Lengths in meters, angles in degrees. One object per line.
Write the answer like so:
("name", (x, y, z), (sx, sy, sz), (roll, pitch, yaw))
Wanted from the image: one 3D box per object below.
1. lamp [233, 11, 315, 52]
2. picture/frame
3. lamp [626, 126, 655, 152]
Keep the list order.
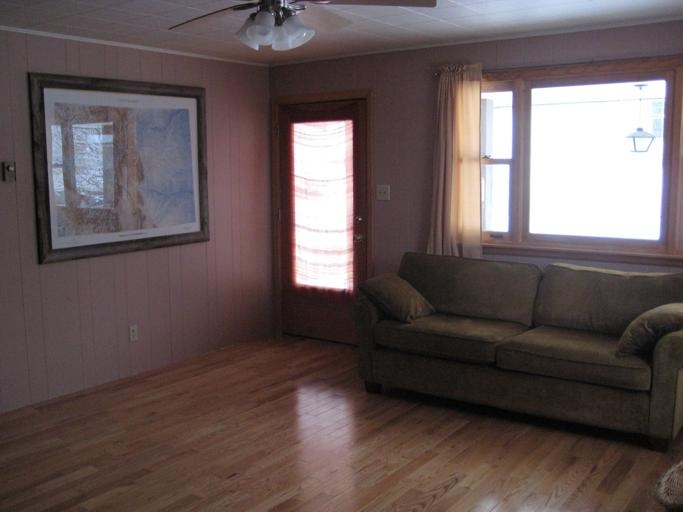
("lamp", (-0.371, -1.260, 3.152), (0.403, 0.178, 0.214), (-8, 12, -28))
("picture/frame", (-1.974, -0.775, 4.848), (0.109, 1.445, 1.723), (9, 10, 41))
("lamp", (2.411, -0.931, 4.553), (0.179, 0.148, 0.182), (1, -6, 2))
